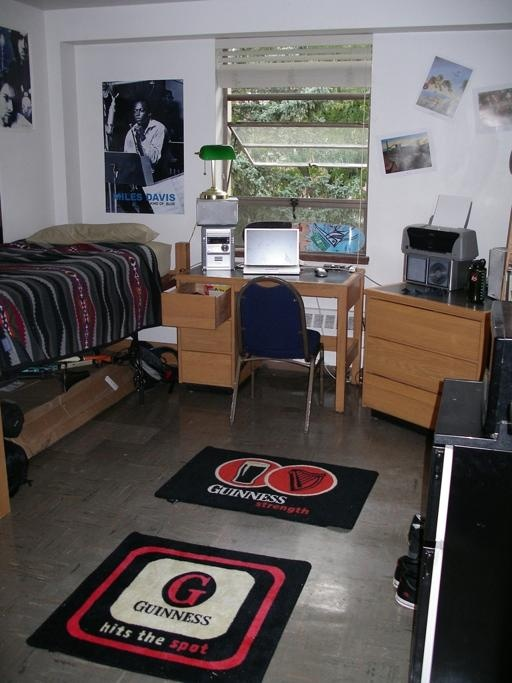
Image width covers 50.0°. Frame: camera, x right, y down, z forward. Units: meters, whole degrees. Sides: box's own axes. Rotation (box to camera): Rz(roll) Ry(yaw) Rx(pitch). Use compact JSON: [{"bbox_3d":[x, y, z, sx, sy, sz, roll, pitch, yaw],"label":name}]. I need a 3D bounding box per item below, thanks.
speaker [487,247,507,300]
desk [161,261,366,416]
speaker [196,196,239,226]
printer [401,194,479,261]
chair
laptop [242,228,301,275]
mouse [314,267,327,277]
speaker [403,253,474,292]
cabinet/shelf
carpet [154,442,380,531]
[{"bbox_3d":[1.239,-0.350,2.830,0.073,0.242,0.271,5,14,20],"label":"speaker"},{"bbox_3d":[0.105,-0.073,3.535,1.090,0.736,0.593,3,17,22],"label":"desk"},{"bbox_3d":[-0.243,-0.827,3.512,0.246,0.181,0.201,1,13,3],"label":"speaker"},{"bbox_3d":[1.023,-0.631,3.009,0.365,0.336,0.273,15,22,40],"label":"printer"},{"bbox_3d":[0.108,0.055,3.000,0.508,0.829,0.287,1,13,3],"label":"chair"},{"bbox_3d":[0.128,-0.614,3.506,0.415,0.268,0.298,2,18,27],"label":"laptop"},{"bbox_3d":[0.386,-0.417,3.289,0.049,0.041,0.069,-1,13,3],"label":"mouse"},{"bbox_3d":[0.975,-0.375,2.983,0.327,0.164,0.220,15,20,42],"label":"speaker"},{"bbox_3d":[0.921,0.183,2.887,0.609,0.659,0.398,17,-5,36],"label":"cabinet/shelf"},{"bbox_3d":[0.063,0.627,2.421,0.884,0.021,0.546,4,14,17],"label":"carpet"}]
